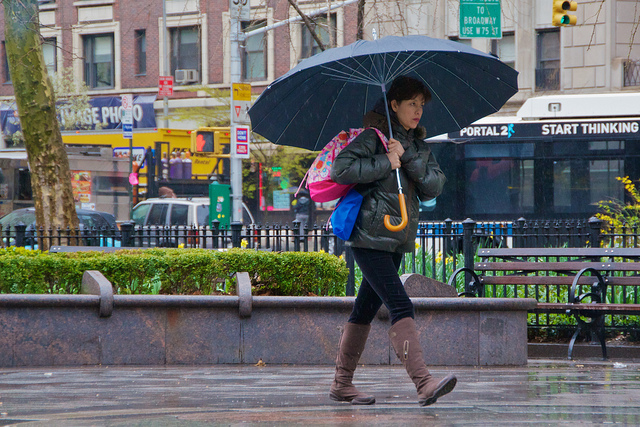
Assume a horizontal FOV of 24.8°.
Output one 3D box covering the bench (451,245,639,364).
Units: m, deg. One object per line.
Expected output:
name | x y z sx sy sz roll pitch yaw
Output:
bench | 4.726 1.786 29.243 3.385 2.193 2.306 -1 1 10

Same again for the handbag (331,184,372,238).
handbag | 0.596 -0.021 25.402 0.422 0.964 0.729 24 -10 -13

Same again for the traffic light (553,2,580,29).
traffic light | 5.931 -4.750 35.023 0.546 0.585 0.826 -1 1 5
